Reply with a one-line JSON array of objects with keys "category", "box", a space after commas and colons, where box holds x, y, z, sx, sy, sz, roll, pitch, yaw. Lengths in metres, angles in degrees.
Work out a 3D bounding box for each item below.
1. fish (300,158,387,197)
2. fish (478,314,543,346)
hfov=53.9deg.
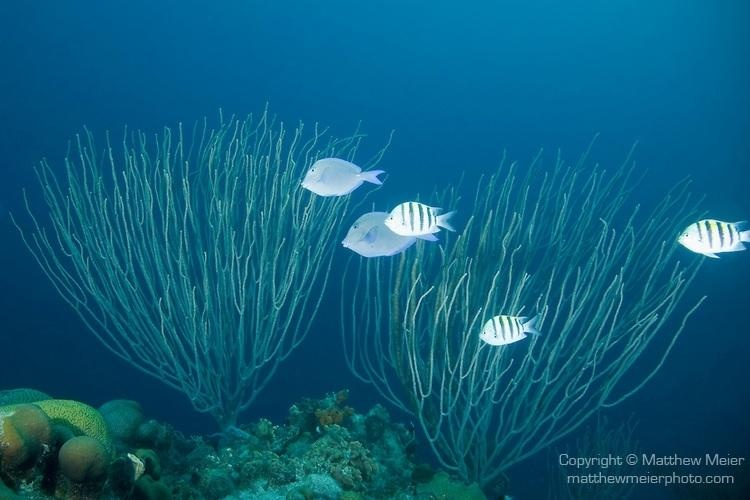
[{"category": "fish", "box": [-0.468, -0.909, 9.397, 0.862, 0.396, 0.380, 16, -38, -5]}, {"category": "fish", "box": [1.679, 0.969, 9.212, 0.704, 0.421, 0.324, 7, -38, 7]}]
